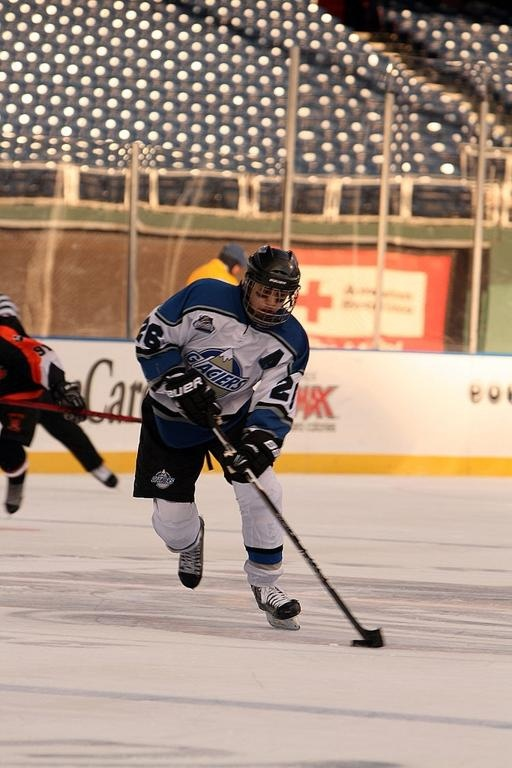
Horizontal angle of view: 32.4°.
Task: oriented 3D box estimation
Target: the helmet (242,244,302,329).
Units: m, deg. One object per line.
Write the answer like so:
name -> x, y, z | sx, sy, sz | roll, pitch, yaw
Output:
helmet -> 0.036, -0.287, 2.595 | 0.167, 0.201, 0.173 | 5, 1, -2

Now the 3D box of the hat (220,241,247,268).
hat -> -0.160, -0.869, 5.896 | 0.190, 0.109, 0.254 | 11, 12, 4

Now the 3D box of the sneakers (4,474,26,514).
sneakers -> -1.057, 0.483, 3.889 | 0.082, 0.209, 0.089 | 4, 27, -5

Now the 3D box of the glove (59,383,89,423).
glove -> -0.695, 0.068, 3.299 | 0.108, 0.111, 0.145 | 4, 1, -10

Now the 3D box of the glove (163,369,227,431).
glove -> -0.168, 0.039, 2.643 | 0.133, 0.194, 0.055 | -34, 7, 22

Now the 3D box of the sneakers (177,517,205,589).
sneakers -> -0.210, 0.561, 2.925 | 0.096, 0.220, 0.098 | 5, 17, 10

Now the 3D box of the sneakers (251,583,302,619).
sneakers -> 0.045, 0.636, 2.579 | 0.067, 0.060, 0.161 | -24, 8, -25

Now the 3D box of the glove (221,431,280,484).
glove -> -0.018, 0.236, 2.596 | 0.253, 0.085, 0.158 | -2, -34, -5
